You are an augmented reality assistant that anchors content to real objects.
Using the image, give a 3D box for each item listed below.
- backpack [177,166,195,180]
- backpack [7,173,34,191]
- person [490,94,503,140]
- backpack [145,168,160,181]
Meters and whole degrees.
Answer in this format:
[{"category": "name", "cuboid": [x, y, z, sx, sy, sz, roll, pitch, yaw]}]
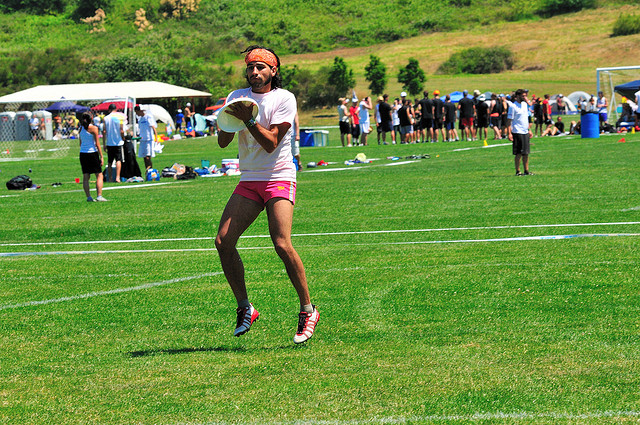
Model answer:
[{"category": "backpack", "cuboid": [-4.502, -1.360, 39.199, 0.429, 0.153, 0.438, -16, 0, 26]}, {"category": "backpack", "cuboid": [-9.785, -0.936, 37.742, 0.530, 0.281, 0.724, 15, 21, 32]}, {"category": "person", "cuboid": [7.425, -3.975, 48.522, 0.502, 1.890, 1.481, -2, 7, 9]}, {"category": "backpack", "cuboid": [-5.712, -1.237, 39.285, 0.492, 0.400, 0.369, -11, 40, -17]}]
